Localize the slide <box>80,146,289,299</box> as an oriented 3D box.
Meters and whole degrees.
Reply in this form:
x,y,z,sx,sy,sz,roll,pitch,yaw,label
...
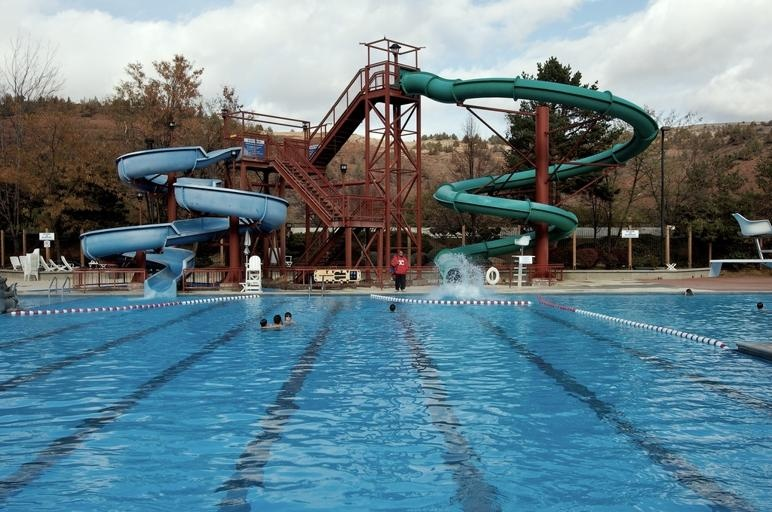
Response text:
x,y,z,sx,sy,sz,roll,pitch,yaw,label
-8.370,-1.661,26.755,6.272,5.891,6.904,-6,8,-44,slide

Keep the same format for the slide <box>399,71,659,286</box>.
x,y,z,sx,sy,sz,roll,pitch,yaw,label
6.287,-3.812,30.868,11.128,9.371,6.904,-2,6,-18,slide
